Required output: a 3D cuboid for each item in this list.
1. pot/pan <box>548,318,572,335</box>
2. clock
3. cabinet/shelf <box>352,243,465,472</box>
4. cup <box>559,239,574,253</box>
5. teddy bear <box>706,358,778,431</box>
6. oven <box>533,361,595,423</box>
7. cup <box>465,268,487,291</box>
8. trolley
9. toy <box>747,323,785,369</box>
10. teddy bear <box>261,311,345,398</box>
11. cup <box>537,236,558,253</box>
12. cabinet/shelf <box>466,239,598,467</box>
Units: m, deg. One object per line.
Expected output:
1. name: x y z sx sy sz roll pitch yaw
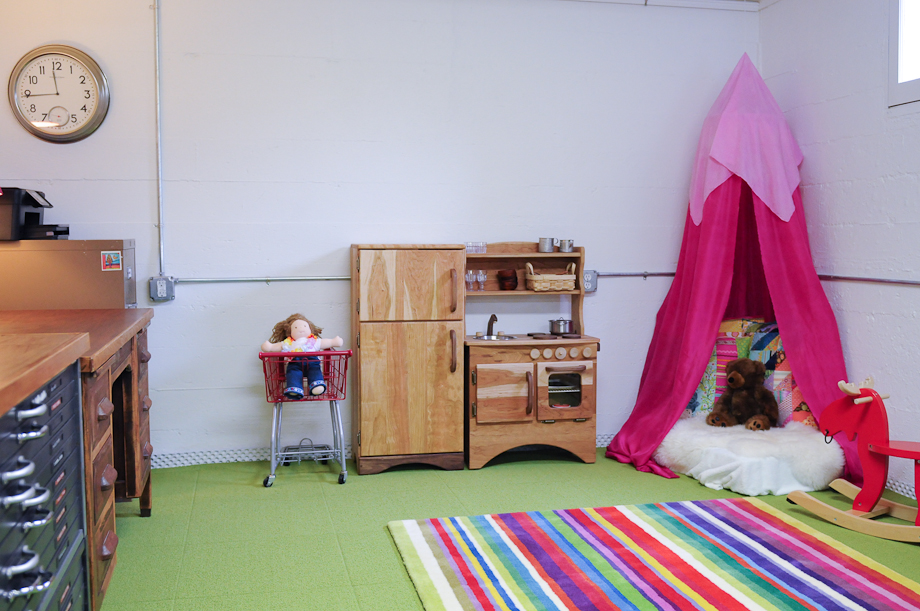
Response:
1. pot/pan: 0.811 0.156 5.376 0.112 0.099 0.153 2 -4 -17
2. clock: -2.892 -1.529 4.740 0.755 0.764 0.155 0 -1 -4
3. cabinet/shelf: -0.358 0.391 4.884 0.771 1.661 0.440 -1 15 -1
4. cup: 0.844 -0.480 5.284 0.106 0.081 0.095 0 3 8
5. teddy bear: 2.227 0.691 5.264 0.575 0.614 0.497 0 -3 43
6. oven: 0.807 0.669 5.242 0.490 0.438 0.418 -1 -4 3
7. cup: 0.131 -0.207 5.218 0.160 0.154 0.146 0 3 -1
8. trolley: -1.186 0.772 4.998 0.668 1.017 1.010 -1 1 -19
9. toy: 2.408 0.310 5.215 0.103 0.346 0.198 11 -8 -33
10. teddy bear: -1.133 0.388 4.869 0.603 0.672 0.569 -3 -20 -16
11. cup: 0.699 -0.487 5.278 0.136 0.100 0.103 1 1 -16
12. cabinet/shelf: 0.551 0.372 5.205 1.034 1.637 0.848 0 15 2
